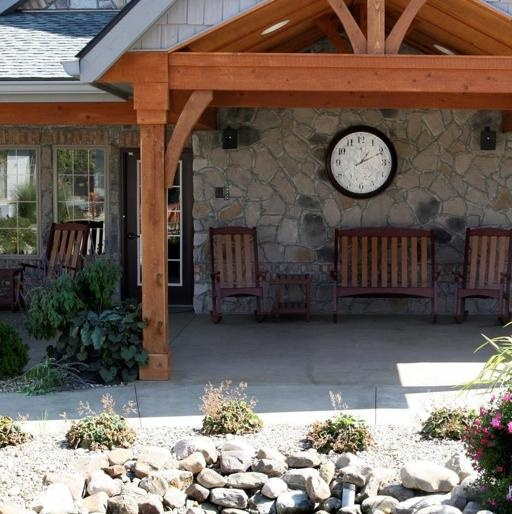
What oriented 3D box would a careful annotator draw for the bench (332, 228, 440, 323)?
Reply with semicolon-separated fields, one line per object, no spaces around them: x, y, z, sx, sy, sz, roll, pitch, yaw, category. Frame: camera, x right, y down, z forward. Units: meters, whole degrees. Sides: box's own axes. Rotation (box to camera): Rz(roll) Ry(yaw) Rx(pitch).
1.645;0.199;7.521;1.272;1.157;1.133;0;2;12;bench

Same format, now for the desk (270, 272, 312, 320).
0.464;0.499;7.560;0.418;0.610;0.604;1;5;3;desk

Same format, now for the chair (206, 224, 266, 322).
-0.252;0.205;7.578;0.680;1.200;0.965;0;2;-4;chair

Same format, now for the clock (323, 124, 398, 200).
1.393;-1.313;7.828;0.956;0.991;0.100;1;-3;2;clock
